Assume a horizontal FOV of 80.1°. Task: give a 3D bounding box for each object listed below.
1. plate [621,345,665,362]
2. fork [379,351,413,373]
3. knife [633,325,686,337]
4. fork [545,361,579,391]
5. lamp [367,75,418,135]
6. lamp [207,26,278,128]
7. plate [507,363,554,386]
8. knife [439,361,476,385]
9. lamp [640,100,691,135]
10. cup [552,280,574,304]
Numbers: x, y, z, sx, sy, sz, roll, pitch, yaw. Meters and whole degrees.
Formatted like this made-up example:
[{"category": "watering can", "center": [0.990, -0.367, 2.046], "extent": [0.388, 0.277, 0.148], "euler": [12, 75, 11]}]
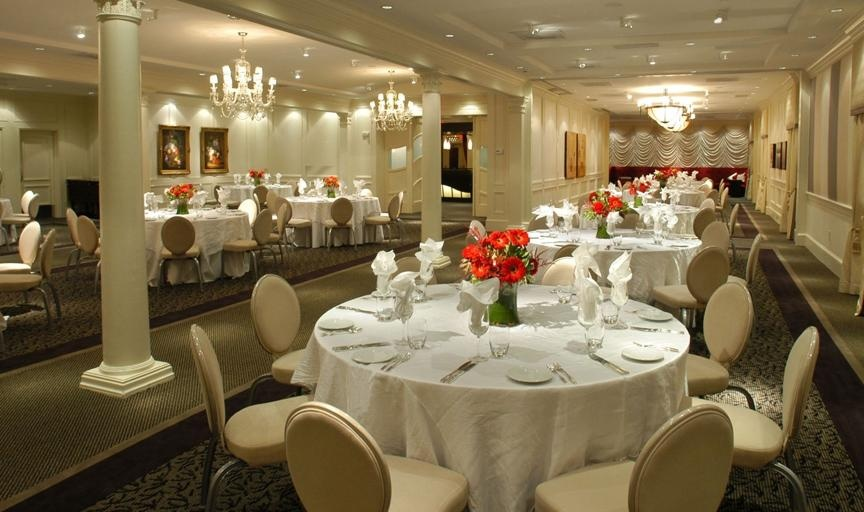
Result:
[{"category": "plate", "center": [1.478, 0.691, 3.628], "extent": [0.307, 0.057, 0.212], "euler": [1, 9, 7]}, {"category": "fork", "center": [-0.244, 0.731, 3.537], "extent": [0.073, 0.039, 0.269], "euler": [11, 13, 15]}, {"category": "knife", "center": [1.750, 0.589, 3.999], "extent": [0.346, 0.027, 0.053], "euler": [1, 52, 9]}, {"category": "fork", "center": [0.842, 0.795, 3.362], "extent": [0.078, 0.030, 0.269], "euler": [-5, 10, -3]}, {"category": "lamp", "center": [-1.121, -4.072, 14.224], "extent": [1.161, 1.261, 1.148], "euler": [4, 6, 33]}, {"category": "lamp", "center": [-4.241, -4.016, 11.394], "extent": [1.631, 2.294, 1.653], "euler": [2, 10, -7]}, {"category": "plate", "center": [0.642, 0.780, 3.366], "extent": [0.313, 0.063, 0.201], "euler": [-4, 10, -19]}, {"category": "knife", "center": [0.169, 0.776, 3.401], "extent": [0.084, 0.029, 0.333], "euler": [7, 12, 23]}, {"category": "lamp", "center": [6.680, -4.036, 14.669], "extent": [1.266, 0.790, 0.711], "euler": [-6, 11, -31]}, {"category": "cup", "center": [1.183, 0.318, 4.585], "extent": [0.203, 0.233, 0.212], "euler": [0, -2, 0]}]
